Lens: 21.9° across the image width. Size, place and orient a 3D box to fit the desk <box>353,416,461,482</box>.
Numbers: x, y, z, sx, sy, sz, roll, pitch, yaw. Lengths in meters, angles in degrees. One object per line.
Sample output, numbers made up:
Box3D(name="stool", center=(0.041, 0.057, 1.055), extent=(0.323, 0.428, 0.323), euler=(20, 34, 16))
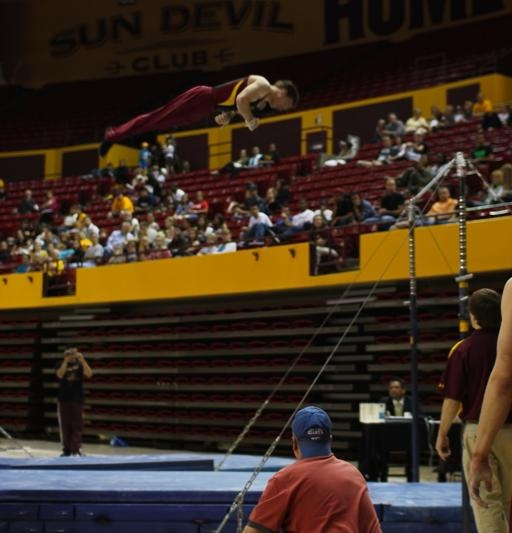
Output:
Box3D(name="desk", center=(1.820, 2.252, 16.650), extent=(1.156, 0.688, 0.883), euler=(2, -11, -15))

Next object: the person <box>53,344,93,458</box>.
Box3D(name="person", center=(-2.635, 1.955, 19.263), extent=(0.491, 1.553, 0.394), euler=(-1, -3, -7))

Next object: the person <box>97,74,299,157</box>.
Box3D(name="person", center=(-0.629, -2.093, 17.546), extent=(2.656, 0.801, 0.675), euler=(-4, -5, 43))
